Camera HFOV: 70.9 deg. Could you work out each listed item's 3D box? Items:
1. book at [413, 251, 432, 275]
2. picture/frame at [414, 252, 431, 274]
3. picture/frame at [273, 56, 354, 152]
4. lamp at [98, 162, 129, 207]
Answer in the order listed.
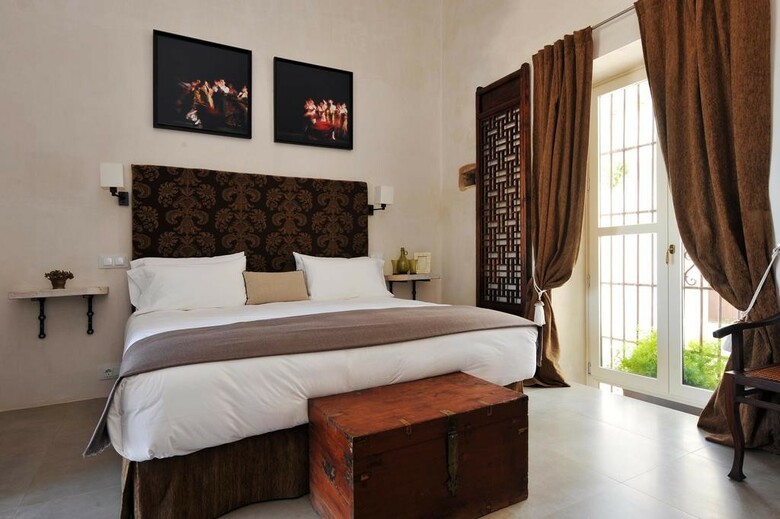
[{"bbox_3d":[0.375,0.047,6.307,0.207,0.236,0.051,-5,-11,42],"label":"book"},{"bbox_3d":[0.374,0.046,6.306,0.173,0.256,0.229,0,-9,3],"label":"picture/frame"},{"bbox_3d":[-0.871,-1.670,5.887,1.034,1.049,0.075,0,3,-31],"label":"picture/frame"},{"bbox_3d":[-2.557,-0.697,5.092,0.241,0.387,0.184,-2,6,-28],"label":"lamp"}]
